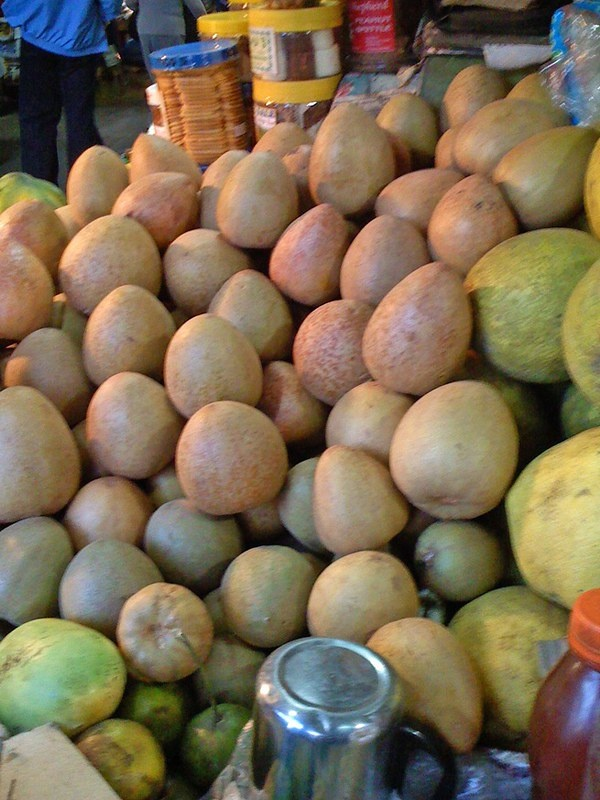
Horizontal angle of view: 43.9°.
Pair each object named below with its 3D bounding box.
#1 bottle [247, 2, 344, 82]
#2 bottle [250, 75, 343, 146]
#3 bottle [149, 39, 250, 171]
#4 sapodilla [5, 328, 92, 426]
[{"bbox_3d":[-0.005,-1.154,2.497,0.296,0.169,0.283,-4,34,3],"label":"bottle"},{"bbox_3d":[-0.032,-0.996,2.630,0.306,0.208,0.287,-2,32,1],"label":"bottle"},{"bbox_3d":[-0.372,-1.107,2.764,0.326,0.334,0.312,-20,34,-22],"label":"bottle"},{"bbox_3d":[-0.533,-0.042,1.597,0.146,0.140,0.196,16,40,-39],"label":"sapodilla"}]
